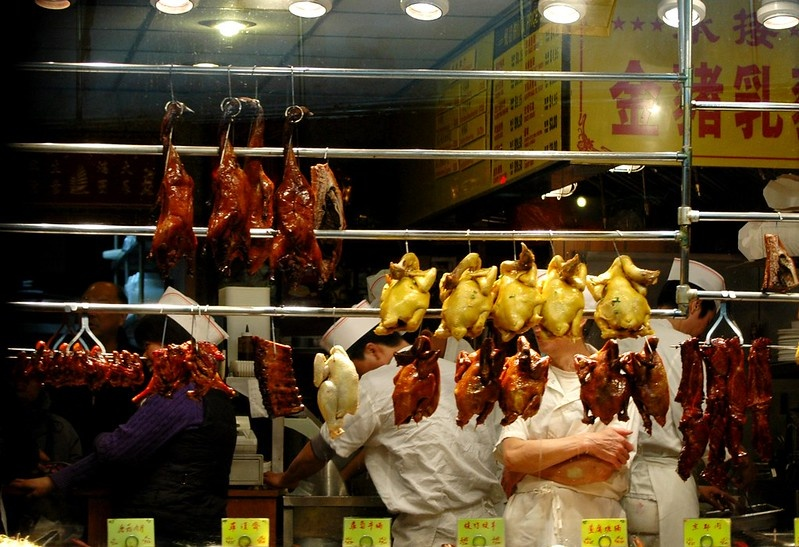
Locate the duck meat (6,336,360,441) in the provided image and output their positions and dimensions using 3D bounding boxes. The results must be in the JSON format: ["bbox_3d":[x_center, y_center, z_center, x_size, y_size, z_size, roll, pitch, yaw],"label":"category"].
[{"bbox_3d":[-1.228,0.665,5.885,1.955,0.556,0.383,0,-6,-1],"label":"duck meat"}]

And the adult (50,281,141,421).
[{"bbox_3d":[-2.010,0.497,6.748,0.216,0.930,0.526,0,-1,40],"label":"adult"}]

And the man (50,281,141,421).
[{"bbox_3d":[-2.021,0.503,6.784,0.216,0.930,0.526,0,-1,40],"label":"man"}]

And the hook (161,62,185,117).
[{"bbox_3d":[-1.276,-1.008,5.638,0.103,0.251,0.012,-10,12,-14],"label":"hook"}]

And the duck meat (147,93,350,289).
[{"bbox_3d":[-0.901,-0.562,6.115,1.254,1.289,0.374,0,2,-8],"label":"duck meat"}]

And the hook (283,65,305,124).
[{"bbox_3d":[-0.609,-1.031,5.709,0.075,0.294,0.070,-2,5,-13],"label":"hook"}]
